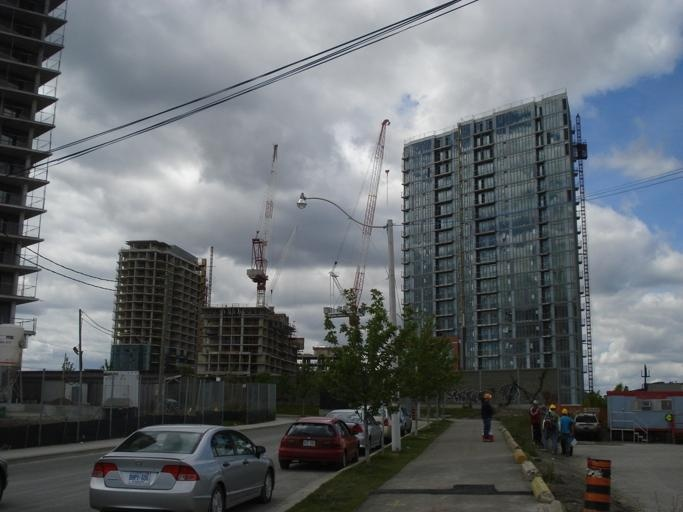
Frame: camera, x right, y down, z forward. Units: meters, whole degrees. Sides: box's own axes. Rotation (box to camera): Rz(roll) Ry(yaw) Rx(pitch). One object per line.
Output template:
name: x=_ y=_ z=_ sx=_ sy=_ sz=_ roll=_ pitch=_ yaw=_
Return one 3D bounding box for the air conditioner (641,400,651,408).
air conditioner: x=18.516 y=8.997 z=44.995 sx=0.472 sy=0.500 sz=0.448 roll=0 pitch=-4 yaw=12

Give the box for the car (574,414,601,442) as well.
car: x=15.813 y=10.971 z=47.672 sx=1.460 sy=1.655 sz=1.443 roll=-6 pitch=-16 yaw=16
